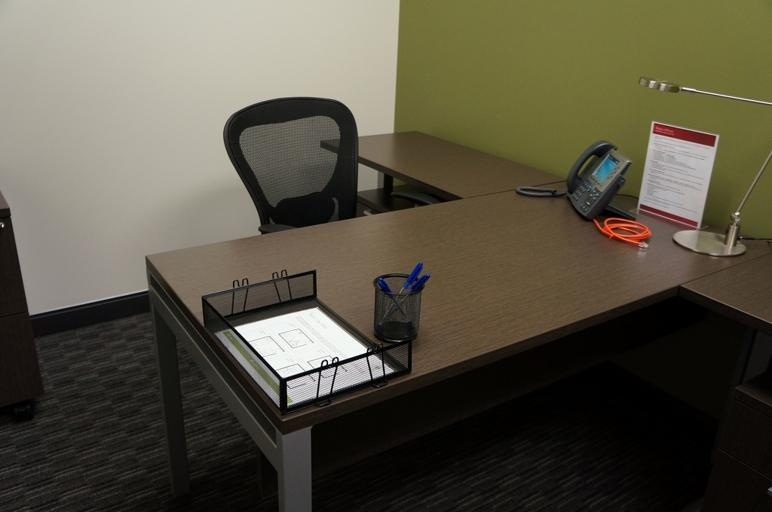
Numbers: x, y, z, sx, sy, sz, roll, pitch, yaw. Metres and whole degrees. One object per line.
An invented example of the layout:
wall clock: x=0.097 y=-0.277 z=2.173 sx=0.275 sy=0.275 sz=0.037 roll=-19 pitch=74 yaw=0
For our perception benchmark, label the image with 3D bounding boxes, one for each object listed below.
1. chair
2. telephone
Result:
chair: x=-0.469 y=-0.483 z=2.756 sx=0.546 sy=0.811 sz=0.562 roll=-17 pitch=37 yaw=-26
telephone: x=0.979 y=-0.360 z=2.489 sx=0.219 sy=0.301 sz=0.260 roll=-5 pitch=34 yaw=-16
